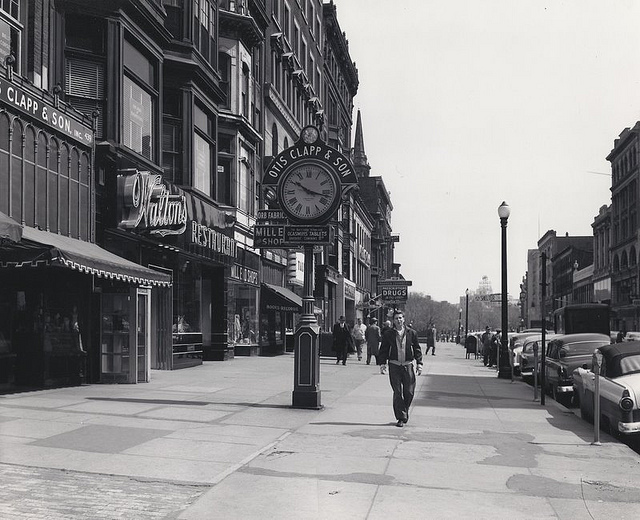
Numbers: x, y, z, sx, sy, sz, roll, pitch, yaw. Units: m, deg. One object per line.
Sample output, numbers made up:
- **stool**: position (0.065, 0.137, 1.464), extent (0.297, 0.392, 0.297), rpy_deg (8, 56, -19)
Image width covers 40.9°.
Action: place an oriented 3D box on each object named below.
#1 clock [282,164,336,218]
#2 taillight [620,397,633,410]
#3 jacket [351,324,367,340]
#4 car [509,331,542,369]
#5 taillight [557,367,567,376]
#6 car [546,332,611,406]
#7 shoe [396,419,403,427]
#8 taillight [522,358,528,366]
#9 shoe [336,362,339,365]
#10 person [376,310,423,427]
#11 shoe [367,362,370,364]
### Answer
- **clock**: position (-0.230, -1.486, 18.817), extent (1.092, 1.406, 0.098), rpy_deg (-1, -28, 1)
- **taillight**: position (5.368, 2.494, 14.977), extent (0.157, 0.205, 0.179), rpy_deg (1, -2, 0)
- **jacket**: position (1.804, 3.196, 40.204), extent (0.824, 0.920, 0.476), rpy_deg (1, -3, 29)
- **car**: position (7.302, 3.315, 31.634), extent (1.035, 1.112, 2.044), rpy_deg (-1, -2, 0)
- **taillight**: position (6.035, 2.759, 21.336), extent (0.097, 0.222, 0.409), rpy_deg (1, -11, -8)
- **car**: position (6.433, 2.724, 21.419), extent (1.147, 1.186, 2.177), rpy_deg (0, -2, -2)
- **shoe**: position (1.468, 2.975, 15.714), extent (0.102, 0.122, 0.097), rpy_deg (1, 1, 20)
- **taillight**: position (6.667, 3.299, 27.848), extent (0.036, 0.185, 0.152), rpy_deg (3, 8, -39)
- **shoe**: position (0.681, 3.979, 33.177), extent (0.054, 0.129, 0.061), rpy_deg (-3, 2, 20)
- **person**: position (1.492, 1.925, 16.230), extent (0.677, 2.335, 0.627), rpy_deg (-1, -2, 11)
- **shoe**: position (1.879, 3.966, 33.163), extent (0.060, 0.086, 0.070), rpy_deg (-1, 1, -17)
